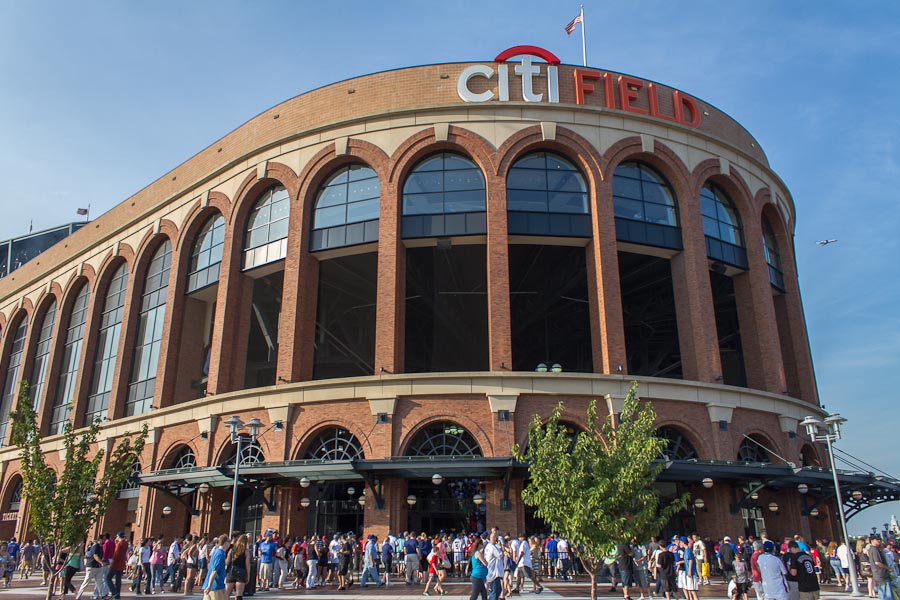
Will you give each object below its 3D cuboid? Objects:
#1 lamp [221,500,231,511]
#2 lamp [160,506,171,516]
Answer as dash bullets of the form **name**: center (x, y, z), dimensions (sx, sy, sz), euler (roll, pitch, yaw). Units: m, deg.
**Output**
- **lamp**: center (-12.811, 11.719, 36.785), dimensions (0.702, 0.448, 0.699), euler (1, -9, 1)
- **lamp**: center (-16.921, 12.480, 38.293), dimensions (0.707, 0.529, 0.706), euler (1, -9, 5)
